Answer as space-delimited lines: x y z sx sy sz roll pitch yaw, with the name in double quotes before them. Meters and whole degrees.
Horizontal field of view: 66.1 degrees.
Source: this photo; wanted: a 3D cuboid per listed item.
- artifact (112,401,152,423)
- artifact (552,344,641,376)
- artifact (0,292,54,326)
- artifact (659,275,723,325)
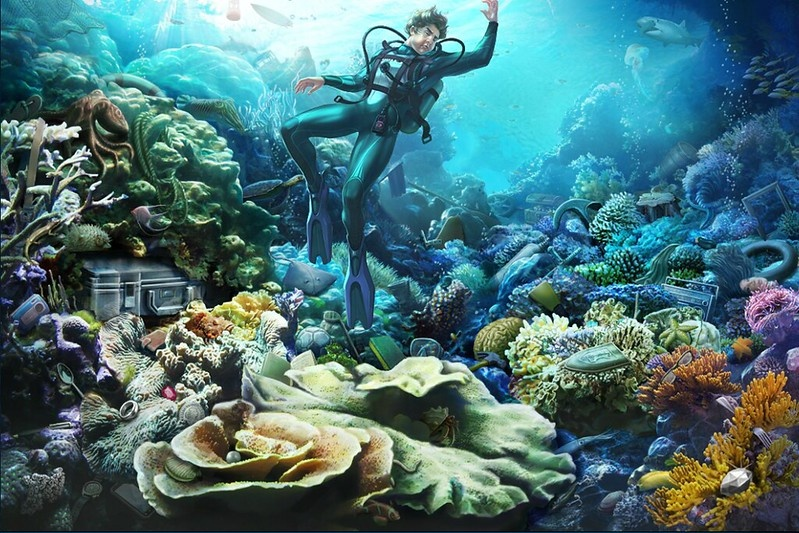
"artifact" -2.582 1.379 5.861 0.193 0.192 0.068 2 -30 20
"artifact" 1.976 0.929 6.125 0.502 0.295 0.094 -12 -42 -4
"artifact" -3.472 0.401 5.809 0.339 0.240 0.080 -37 23 -16
"artifact" 3.252 0.283 6.696 0.366 0.168 0.418 21 9 -33
